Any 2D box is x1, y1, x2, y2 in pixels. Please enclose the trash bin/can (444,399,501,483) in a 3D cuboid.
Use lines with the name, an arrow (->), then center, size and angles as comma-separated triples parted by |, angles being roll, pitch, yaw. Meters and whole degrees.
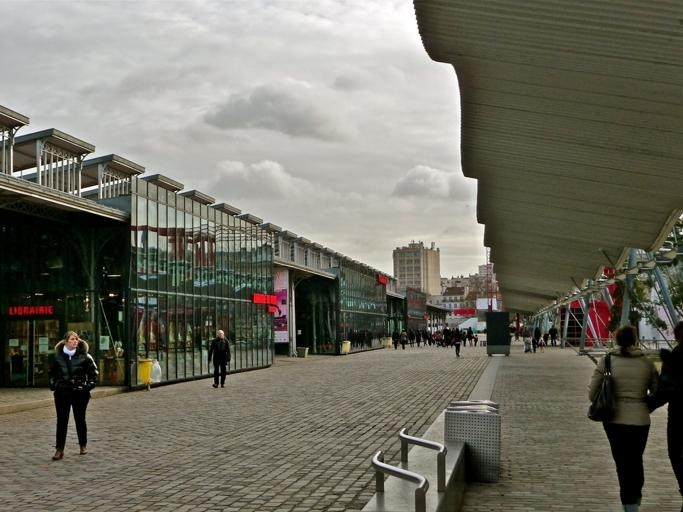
trash bin/can -> 1.901, 2.485, 10.911 | 0.895, 1.141, 1.206 | -1, -1, 9

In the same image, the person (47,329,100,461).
person -> -4.573, 2.329, 12.953 | 0.743, 2.073, 0.774 | -1, -6, -21
